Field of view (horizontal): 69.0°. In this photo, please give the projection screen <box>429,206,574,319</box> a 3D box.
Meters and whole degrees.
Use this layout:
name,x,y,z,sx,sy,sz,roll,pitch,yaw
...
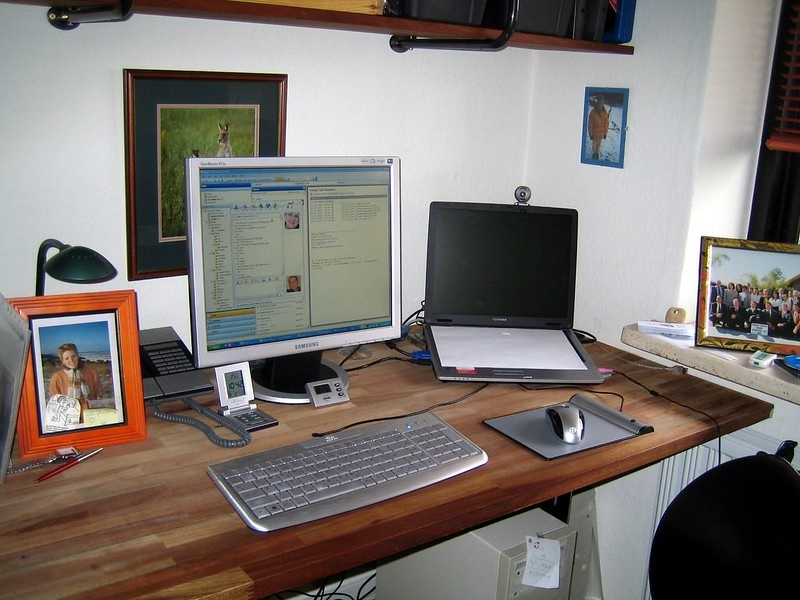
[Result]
name,x,y,z,sx,sy,sz,roll,pitch,yaw
projection screen,0.316,-0.107,1.817,0.478,0.381,0.022,1,4,-6

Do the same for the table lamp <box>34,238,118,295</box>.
name,x,y,z,sx,sy,sz,roll,pitch,yaw
table lamp,-0.743,-0.055,1.291,0.106,0.142,0.173,-5,-10,13

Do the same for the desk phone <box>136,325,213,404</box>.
name,x,y,z,sx,sy,sz,roll,pitch,yaw
desk phone,-0.599,0.159,1.501,0.149,0.053,0.201,-11,42,-35

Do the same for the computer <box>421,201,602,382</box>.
name,x,y,z,sx,sy,sz,roll,pitch,yaw
computer,0.304,-0.032,1.782,0.608,0.522,0.495,1,22,-9

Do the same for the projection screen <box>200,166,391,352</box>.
name,x,y,z,sx,sy,sz,roll,pitch,yaw
projection screen,-0.280,-0.114,1.470,0.473,0.387,0.047,-7,14,-24

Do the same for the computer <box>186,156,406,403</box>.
name,x,y,z,sx,sy,sz,roll,pitch,yaw
computer,-0.278,-0.063,1.479,0.590,0.599,0.237,-6,14,-30

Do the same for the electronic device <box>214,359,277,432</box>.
name,x,y,z,sx,sy,sz,roll,pitch,yaw
electronic device,-0.369,0.231,1.404,0.156,0.109,0.102,15,13,37

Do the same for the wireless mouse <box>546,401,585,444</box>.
name,x,y,z,sx,sy,sz,roll,pitch,yaw
wireless mouse,0.397,0.293,1.396,0.057,0.034,0.097,2,24,-15
